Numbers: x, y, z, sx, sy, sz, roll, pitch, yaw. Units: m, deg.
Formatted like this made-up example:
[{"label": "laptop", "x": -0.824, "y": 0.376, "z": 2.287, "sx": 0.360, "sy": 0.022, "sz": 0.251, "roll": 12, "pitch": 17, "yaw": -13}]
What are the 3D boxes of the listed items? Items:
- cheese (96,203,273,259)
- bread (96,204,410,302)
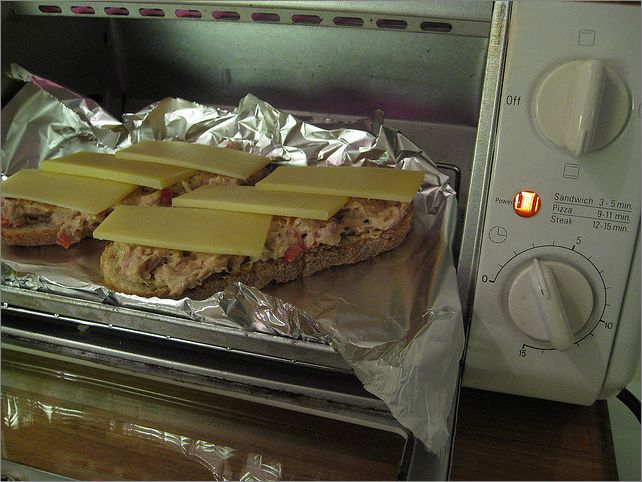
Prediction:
[{"label": "cheese", "x": -0.280, "y": -0.025, "z": 1.099, "sx": 0.355, "sy": 0.053, "sz": 0.132, "roll": 3, "pitch": 23, "yaw": 8}, {"label": "bread", "x": -0.103, "y": -0.068, "z": 1.235, "sx": 0.644, "sy": 0.200, "sz": 0.493, "roll": 13, "pitch": 22, "yaw": 38}]
